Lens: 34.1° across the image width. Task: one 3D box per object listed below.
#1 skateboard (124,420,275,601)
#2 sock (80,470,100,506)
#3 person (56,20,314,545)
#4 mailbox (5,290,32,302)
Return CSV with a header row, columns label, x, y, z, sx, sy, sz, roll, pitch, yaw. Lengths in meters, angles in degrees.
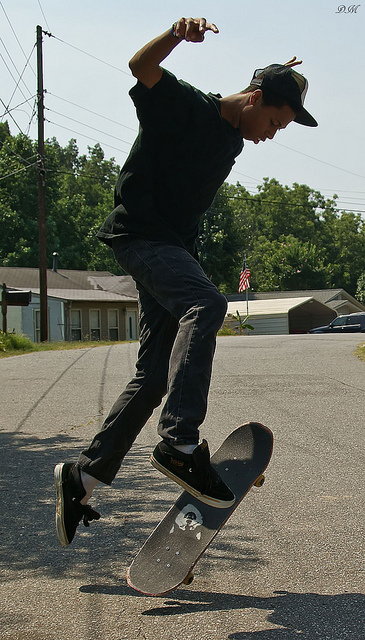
label,x,y,z,sx,sy,sz,roll,pitch,yaw
skateboard,0.066,0.601,1.923,0.170,0.744,0.108,35,16,5
sock,-0.335,0.591,2.098,0.087,0.103,0.080,-6,-10,-6
person,-0.073,-0.009,2.085,0.994,1.831,0.685,-1,1,19
mailbox,-5.498,-0.758,19.874,0.994,0.344,0.422,-1,1,26
